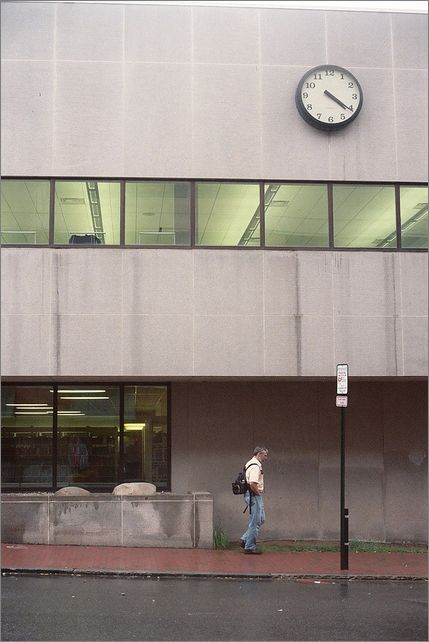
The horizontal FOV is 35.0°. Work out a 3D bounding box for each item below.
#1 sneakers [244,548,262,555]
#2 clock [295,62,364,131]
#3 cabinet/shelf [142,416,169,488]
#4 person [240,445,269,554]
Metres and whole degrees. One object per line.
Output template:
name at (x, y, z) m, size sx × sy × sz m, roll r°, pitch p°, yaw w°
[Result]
sneakers at (0.643, 3.802, 11.256) m, size 0.291 × 0.149 × 0.114 m, roll 0°, pitch -6°, yaw -4°
clock at (2.110, -4.247, 12.869) m, size 1.189 × 1.284 × 0.209 m, roll 0°, pitch -8°, yaw -6°
cabinet/shelf at (-1.176, 2.652, 13.703) m, size 0.540 × 1.454 × 0.157 m, roll -1°, pitch -6°, yaw -8°
person at (0.670, 2.980, 11.221) m, size 0.436 × 1.750 × 0.615 m, roll 0°, pitch -6°, yaw -10°
